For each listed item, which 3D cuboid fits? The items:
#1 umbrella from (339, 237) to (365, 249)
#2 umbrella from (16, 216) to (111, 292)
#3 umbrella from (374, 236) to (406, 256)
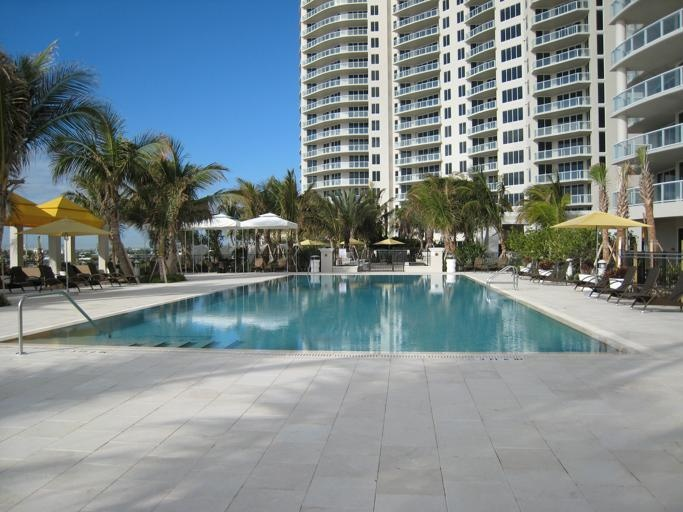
[{"bbox_3d":[0.981,-1.124,45.172,1.696,0.924,4.193,0,2,14],"label":"umbrella"},{"bbox_3d":[-10.651,-0.296,19.831,3.588,2.762,3.739,12,13,34],"label":"umbrella"},{"bbox_3d":[4.484,-0.919,49.537,2.004,1.695,2.199,0,2,6],"label":"umbrella"}]
